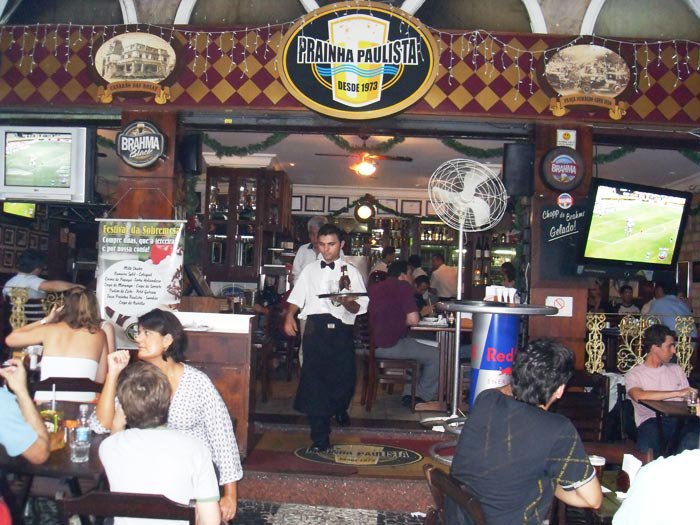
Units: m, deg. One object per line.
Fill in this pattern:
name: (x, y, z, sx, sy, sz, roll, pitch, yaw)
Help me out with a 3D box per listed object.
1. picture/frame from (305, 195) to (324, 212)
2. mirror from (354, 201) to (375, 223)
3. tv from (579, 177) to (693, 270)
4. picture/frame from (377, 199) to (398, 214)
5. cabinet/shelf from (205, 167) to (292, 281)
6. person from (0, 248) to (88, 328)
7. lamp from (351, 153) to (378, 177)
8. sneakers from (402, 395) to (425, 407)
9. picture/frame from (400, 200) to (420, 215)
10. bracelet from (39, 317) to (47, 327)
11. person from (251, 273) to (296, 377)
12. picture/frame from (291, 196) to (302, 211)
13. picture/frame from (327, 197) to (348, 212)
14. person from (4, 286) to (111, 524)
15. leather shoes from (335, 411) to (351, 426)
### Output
picture/frame: (-0.650, -1.056, 15.373, 0.267, 0.248, 0.027, 1, 9, 0)
mirror: (0.238, -0.839, 14.460, 0.347, 0.329, 0.380, 4, -1, 0)
tv: (2.790, -0.381, 8.520, 1.200, 0.948, 0.126, 8, 7, -16)
picture/frame: (0.663, -0.992, 15.254, 0.206, 0.219, 0.024, 17, 0, 3)
cabinet/shelf: (-1.532, -0.526, 12.689, 1.419, 2.125, 1.414, 1, -3, -4)
person: (-3.625, 0.285, 10.034, 0.796, 1.021, 0.572, 3, 9, 17)
lamp: (0.193, -1.298, 11.422, 0.268, 0.269, 0.525, 4, -1, -6)
sneakers: (0.643, 1.437, 9.073, 0.101, 0.137, 0.316, 0, -1, -10)
picture/frame: (1.100, -0.991, 15.480, 0.383, 0.257, 0.059, 4, -1, -9)
bracelet: (-2.633, 0.505, 7.374, 0.106, 0.084, 0.032, -18, -16, 36)
person: (-0.907, 0.720, 10.505, 0.716, 1.213, 0.707, 0, 1, 10)
picture/frame: (-0.943, -1.048, 15.350, 0.184, 0.270, 0.046, 4, -1, 2)
picture/frame: (-0.224, -1.032, 15.337, 0.259, 0.243, 0.027, 0, 0, -2)
person: (-2.243, 0.862, 7.004, 0.941, 1.539, 0.829, -1, 41, -17)
leather shoes: (-0.071, 1.464, 8.071, 0.097, 0.112, 0.250, 3, -11, -10)
